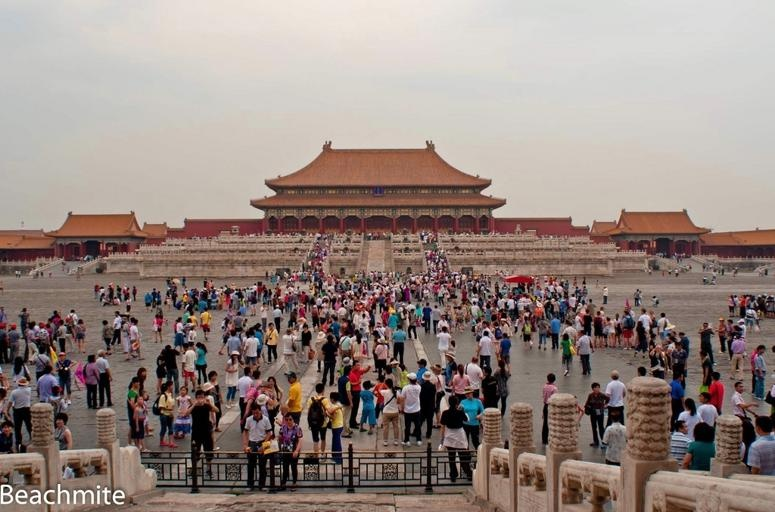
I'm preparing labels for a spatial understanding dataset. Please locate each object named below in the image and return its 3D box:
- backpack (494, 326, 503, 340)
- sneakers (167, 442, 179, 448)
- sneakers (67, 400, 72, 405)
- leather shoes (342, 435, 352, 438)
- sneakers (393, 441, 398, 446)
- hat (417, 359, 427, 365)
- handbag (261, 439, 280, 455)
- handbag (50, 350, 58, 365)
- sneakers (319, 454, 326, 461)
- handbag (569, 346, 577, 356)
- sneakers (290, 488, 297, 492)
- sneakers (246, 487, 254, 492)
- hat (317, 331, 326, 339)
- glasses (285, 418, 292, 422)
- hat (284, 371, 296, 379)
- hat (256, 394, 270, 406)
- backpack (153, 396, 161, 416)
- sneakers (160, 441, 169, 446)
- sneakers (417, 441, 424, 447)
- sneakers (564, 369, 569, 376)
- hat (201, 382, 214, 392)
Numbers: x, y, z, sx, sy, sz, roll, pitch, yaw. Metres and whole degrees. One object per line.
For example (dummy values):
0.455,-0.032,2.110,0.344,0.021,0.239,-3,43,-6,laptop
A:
3.657,2.573,34.888,0.423,0.450,0.348,0,-6,-5,backpack
-5.839,5.129,28.309,0.277,0.181,0.100,-1,-1,-8,sneakers
-9.389,4.308,30.726,0.124,0.119,0.075,1,-4,-15,sneakers
-1.081,4.954,28.637,0.175,0.088,0.357,5,-9,-39,leather shoes
0.233,5.089,28.392,0.145,0.099,0.121,-1,-7,0,sneakers
0.926,2.960,28.990,0.234,0.111,0.169,10,-2,15,hat
-2.985,4.867,26.595,0.355,0.231,0.344,-4,0,-30,handbag
-10.337,3.133,32.281,0.190,0.512,0.992,1,-7,-15,handbag
-1.713,5.291,27.422,0.198,0.209,0.573,-1,-7,-3,sneakers
5.955,3.043,33.769,0.152,0.520,0.565,4,-7,15,handbag
-2.405,5.909,26.528,0.153,0.121,0.163,-2,-7,6,sneakers
-3.492,5.912,26.502,0.154,0.102,0.158,1,-7,-15,sneakers
-2.086,2.467,32.569,0.251,0.222,0.678,0,-7,-6,hat
-2.523,4.183,26.682,0.180,0.103,0.300,0,-7,-8,glasses
-2.617,3.210,28.010,0.300,0.212,0.414,6,-2,-32,hat
-3.258,3.730,27.117,0.337,0.312,0.253,-5,2,-29,hat
-6.314,4.084,28.456,0.163,0.456,0.595,1,-7,-13,backpack
-6.083,5.100,28.369,0.227,0.091,0.098,1,-3,-4,sneakers
0.841,5.113,28.415,0.166,0.138,0.150,-1,-7,0,sneakers
5.587,3.672,32.809,0.148,0.131,0.299,-3,-14,0,sneakers
-4.867,3.542,28.148,0.405,0.140,0.443,-2,-5,0,hat
